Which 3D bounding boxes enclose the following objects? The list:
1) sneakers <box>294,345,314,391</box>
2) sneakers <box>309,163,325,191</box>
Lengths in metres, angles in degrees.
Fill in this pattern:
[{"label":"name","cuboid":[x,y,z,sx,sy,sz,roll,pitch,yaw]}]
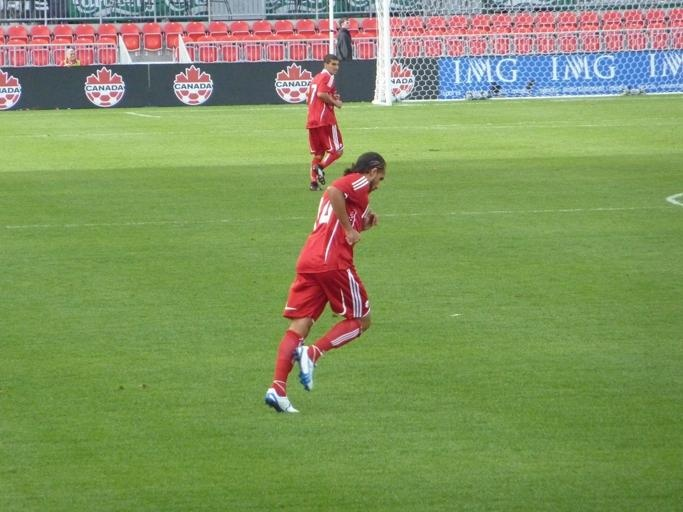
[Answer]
[{"label":"sneakers","cuboid":[-0.454,1.272,19.295,0.252,0.522,0.174,-11,12,-5]},{"label":"sneakers","cuboid":[-0.400,-1.180,25.819,0.248,0.447,0.162,-4,-11,-24]}]
